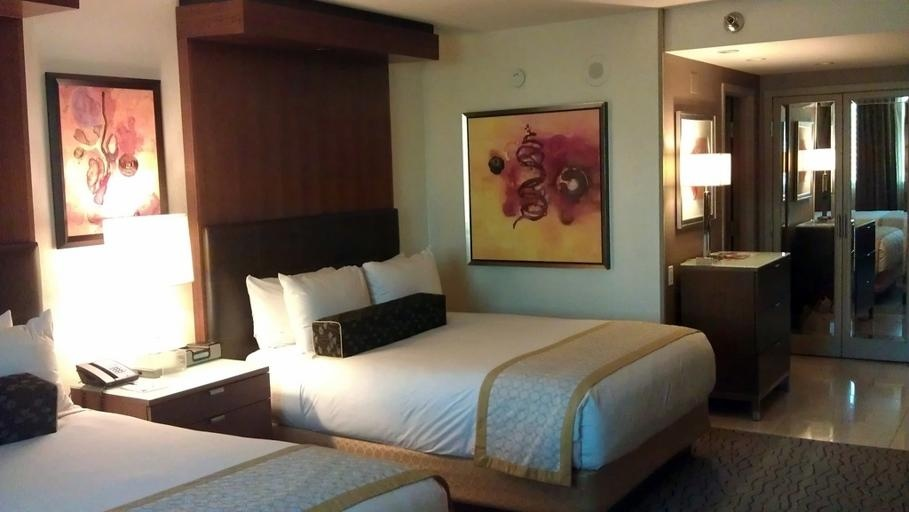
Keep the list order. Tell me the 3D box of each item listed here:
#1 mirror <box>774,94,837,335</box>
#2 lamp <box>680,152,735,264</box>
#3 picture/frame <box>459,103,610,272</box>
[{"bbox_3d":[4.290,-0.450,8.127,0.897,3.495,0.070,-8,9,-16],"label":"mirror"},{"bbox_3d":[2.681,-0.499,7.089,0.398,1.076,0.368,1,0,34],"label":"lamp"},{"bbox_3d":[0.938,-0.807,7.281,1.934,1.805,0.202,1,6,21],"label":"picture/frame"}]
